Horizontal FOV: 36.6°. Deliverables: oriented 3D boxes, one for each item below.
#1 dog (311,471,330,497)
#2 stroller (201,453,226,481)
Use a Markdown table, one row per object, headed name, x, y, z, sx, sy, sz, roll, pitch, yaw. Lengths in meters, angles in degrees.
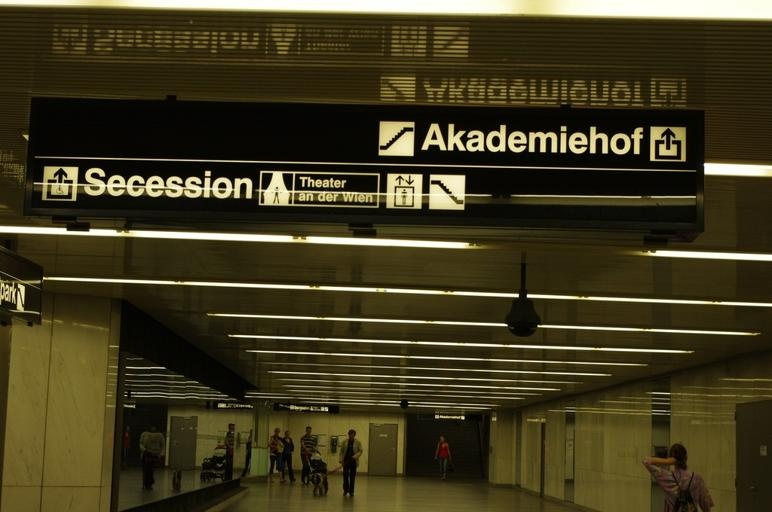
| name | x | y | z | sx | sy | sz | roll | pitch | yaw |
| --- | --- | --- | --- | --- | --- | --- | --- | --- | --- |
| dog | -1.663 | 5.865 | 30.077 | 0.372 | 0.587 | 0.582 | 0 | -5 | 3 |
| stroller | -3.750 | 4.626 | 25.296 | 0.414 | 0.616 | 0.678 | -1 | -28 | 1 |
